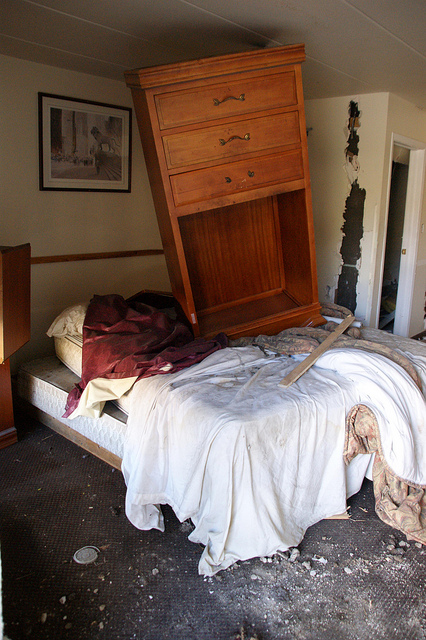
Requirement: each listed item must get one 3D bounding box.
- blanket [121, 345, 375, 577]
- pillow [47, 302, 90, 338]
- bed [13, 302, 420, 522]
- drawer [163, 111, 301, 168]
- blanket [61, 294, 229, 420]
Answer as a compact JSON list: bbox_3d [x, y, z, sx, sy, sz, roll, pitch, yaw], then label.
[{"bbox_3d":[0.231,0.503,2.317,0.775,0.467,0.968,-15,18,-15],"label":"blanket"},{"bbox_3d":[-0.967,0.021,3.116,0.273,0.079,0.227,-15,11,18],"label":"pillow"},{"bbox_3d":[-0.073,0.393,2.534,1.990,0.688,1.148,8,16,31],"label":"bed"},{"bbox_3d":[0.130,-1.055,2.743,0.565,0.131,0.495,-14,11,-16],"label":"drawer"},{"bbox_3d":[-0.365,0.032,3.107,0.845,0.270,1.153,18,11,-21],"label":"blanket"}]
